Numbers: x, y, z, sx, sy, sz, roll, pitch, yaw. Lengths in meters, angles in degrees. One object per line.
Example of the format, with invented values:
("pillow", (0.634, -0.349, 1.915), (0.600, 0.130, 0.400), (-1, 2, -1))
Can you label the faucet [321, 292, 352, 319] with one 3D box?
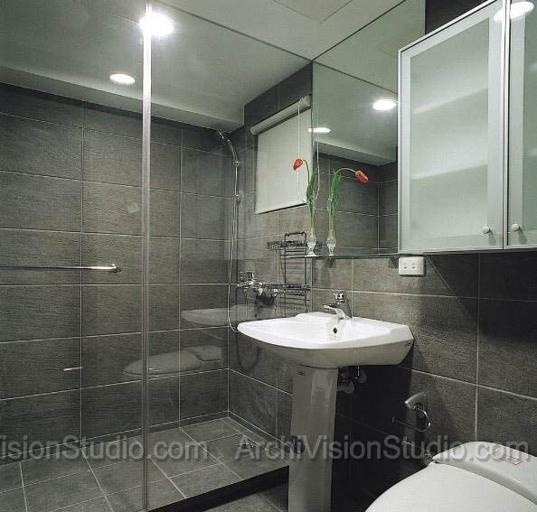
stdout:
("faucet", (0.329, 0.234, 2.187), (0.110, 0.096, 0.144), (0, -8, -12))
